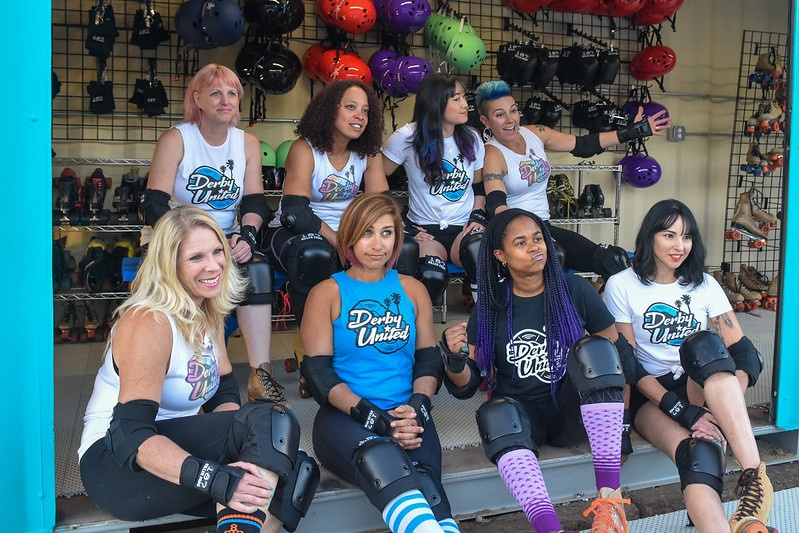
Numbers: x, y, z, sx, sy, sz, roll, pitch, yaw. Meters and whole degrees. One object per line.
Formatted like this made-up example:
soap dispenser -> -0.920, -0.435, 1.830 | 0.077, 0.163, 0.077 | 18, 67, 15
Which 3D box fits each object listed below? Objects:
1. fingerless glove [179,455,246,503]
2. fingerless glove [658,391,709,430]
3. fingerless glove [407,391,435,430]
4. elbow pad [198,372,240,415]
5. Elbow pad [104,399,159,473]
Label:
fingerless glove -> -0.653, 0.738, 2.332 | 0.201, 0.145, 0.082 | 19, -11, -1
fingerless glove -> 1.236, 0.629, 2.922 | 0.170, 0.114, 0.067 | 38, 0, 32
fingerless glove -> 0.115, 0.602, 2.849 | 0.105, 0.174, 0.134 | -10, -43, 18
elbow pad -> -0.725, 0.527, 2.763 | 0.106, 0.201, 0.058 | 8, -19, -9
Elbow pad -> -0.952, 0.606, 2.382 | 0.182, 0.261, 0.094 | -2, 5, -16
